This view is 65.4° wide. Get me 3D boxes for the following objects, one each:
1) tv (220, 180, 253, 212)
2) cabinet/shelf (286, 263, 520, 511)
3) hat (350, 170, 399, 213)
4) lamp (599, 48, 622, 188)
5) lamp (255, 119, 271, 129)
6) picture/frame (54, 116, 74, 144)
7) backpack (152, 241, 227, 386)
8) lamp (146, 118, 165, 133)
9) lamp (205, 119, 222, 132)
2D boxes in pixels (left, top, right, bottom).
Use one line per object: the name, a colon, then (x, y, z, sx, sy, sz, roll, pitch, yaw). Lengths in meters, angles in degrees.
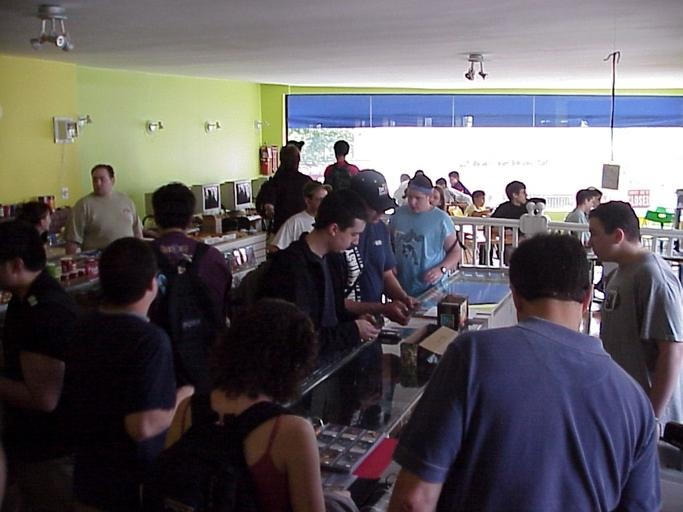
tv: (-1.528, -0.868, 7.758, 0.351, 0.560, 0.645, 2, 8, 17)
cabinet/shelf: (0.354, 0.394, 2.431, 0.457, 0.335, 2.066, 6, 12, 29)
hat: (0.192, -0.378, 3.149, 0.279, 0.256, 0.277, -1, 10, -12)
lamp: (2.633, -1.323, 5.180, 0.197, 1.329, 0.248, -2, 11, 6)
lamp: (-1.591, -2.641, 10.628, 0.202, 0.218, 0.215, -3, 4, -29)
picture/frame: (-3.071, -1.406, 5.876, 0.034, 0.271, 0.254, 13, 24, 36)
backpack: (-0.608, 0.226, 2.079, 0.285, 0.340, 0.608, 8, 47, -26)
lamp: (-2.796, -1.954, 7.978, 0.198, 0.214, 0.147, -4, -2, 18)
lamp: (-2.236, -2.253, 9.286, 0.124, 0.209, 0.428, 3, 10, 13)
